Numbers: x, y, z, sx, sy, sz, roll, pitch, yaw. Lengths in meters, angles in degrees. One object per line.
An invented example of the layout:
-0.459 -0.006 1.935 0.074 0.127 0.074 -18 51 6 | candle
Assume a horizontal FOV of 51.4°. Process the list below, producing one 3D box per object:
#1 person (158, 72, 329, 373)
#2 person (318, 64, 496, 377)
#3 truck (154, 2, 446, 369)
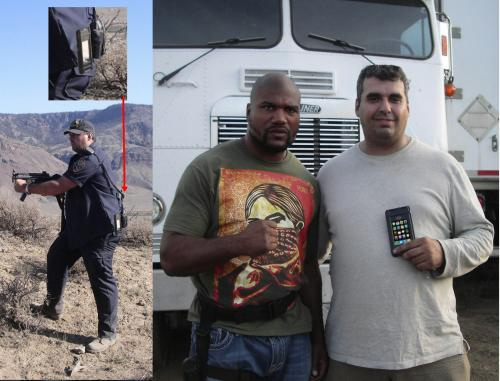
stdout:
0.004 0.231 3.379 1.126 1.971 0.555 1 -2 -5 | person
0.994 0.212 3.480 1.069 2.100 0.357 1 -2 6 | person
0.473 -0.482 6.588 2.253 2.907 3.747 0 -2 -2 | truck
